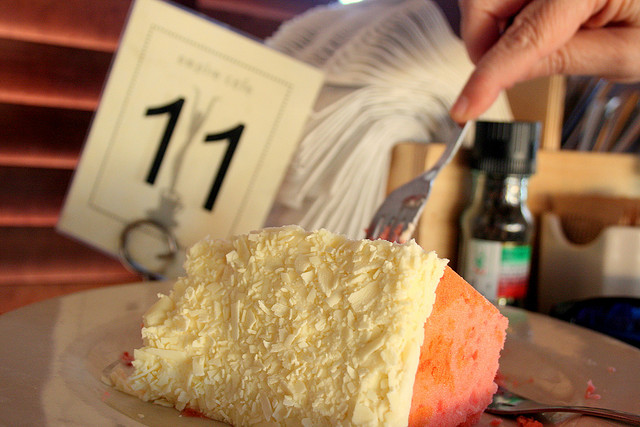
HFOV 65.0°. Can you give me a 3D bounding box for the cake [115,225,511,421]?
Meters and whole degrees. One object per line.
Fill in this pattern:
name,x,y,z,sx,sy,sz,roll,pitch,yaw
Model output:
cake,-0.036,0.154,0.704,0.403,0.162,0.310,6,37,23
